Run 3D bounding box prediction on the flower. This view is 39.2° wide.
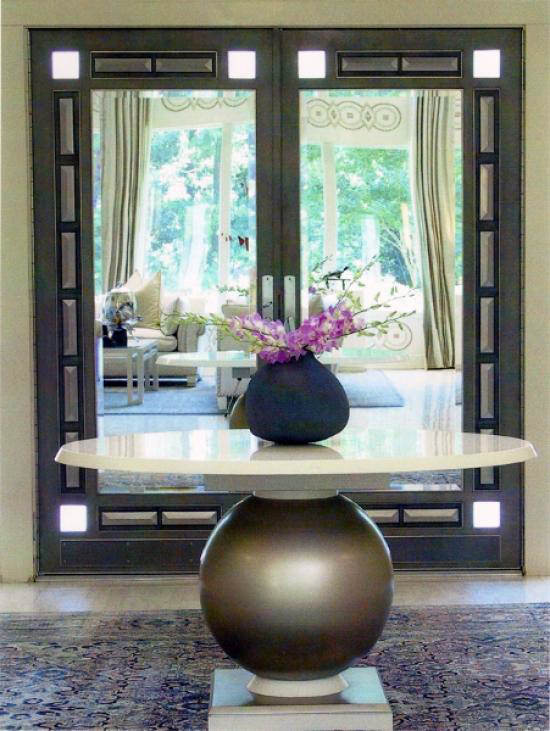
[{"bbox_3d":[0.048,-0.204,2.720,0.600,0.200,0.378,-12,-3,21],"label":"flower"}]

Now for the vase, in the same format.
[{"bbox_3d":[0.048,0.069,1.824,0.279,0.220,0.268,1,2,-35],"label":"vase"}]
